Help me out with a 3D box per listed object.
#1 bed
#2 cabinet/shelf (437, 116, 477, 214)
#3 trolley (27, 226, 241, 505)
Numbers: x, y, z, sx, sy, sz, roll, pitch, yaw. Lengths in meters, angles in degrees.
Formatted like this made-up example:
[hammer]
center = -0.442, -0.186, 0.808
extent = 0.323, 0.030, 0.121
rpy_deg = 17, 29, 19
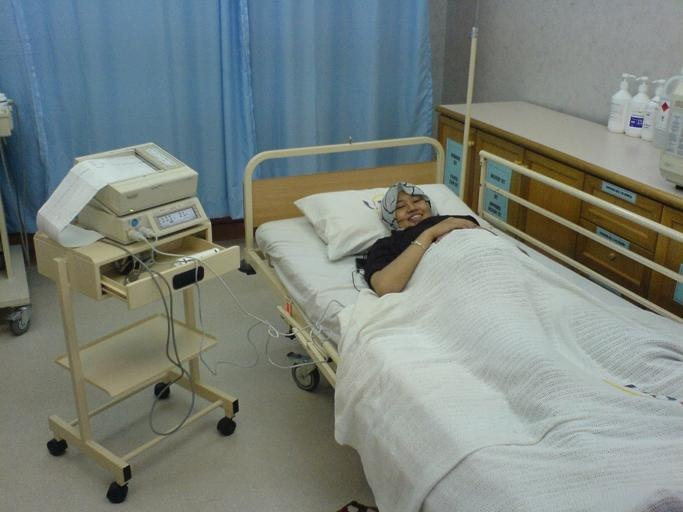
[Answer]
[bed]
center = 0.114, -0.038, 2.347
extent = 1.239, 0.809, 1.982
rpy_deg = -16, 41, -24
[cabinet/shelf]
center = 0.706, -0.617, 3.518
extent = 0.302, 0.548, 0.331
rpy_deg = 16, 9, 11
[trolley]
center = -0.848, 0.484, 2.109
extent = 0.526, 0.930, 0.634
rpy_deg = 22, 31, 33
